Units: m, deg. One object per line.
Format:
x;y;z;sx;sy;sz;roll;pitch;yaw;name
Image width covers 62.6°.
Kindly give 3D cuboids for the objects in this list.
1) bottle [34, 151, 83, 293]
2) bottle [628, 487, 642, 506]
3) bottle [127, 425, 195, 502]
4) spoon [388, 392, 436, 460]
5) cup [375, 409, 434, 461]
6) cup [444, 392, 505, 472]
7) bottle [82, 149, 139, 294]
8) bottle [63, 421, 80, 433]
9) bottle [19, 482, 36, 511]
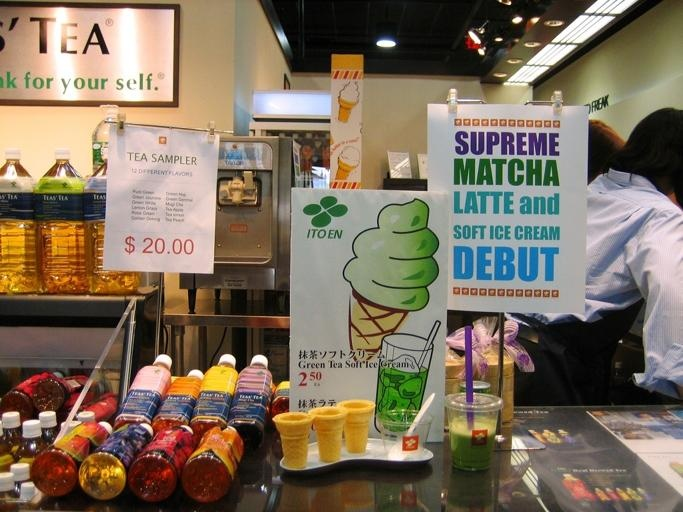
-1.098;-0.133;2.209;0.161;0.559;0.184;-6;10;-41;bottle
0.662;0.543;1.270;0.024;0.008;0.026;-5;30;3;bottle
-0.390;0.468;1.258;0.088;0.129;0.148;7;11;42;bottle
0.163;0.432;1.340;0.055;0.221;0.033;29;-8;5;spoon
0.145;0.434;1.347;0.106;0.088;0.107;1;0;0;cup
0.319;0.428;1.440;0.151;0.167;0.156;0;1;0;cup
-0.906;-0.077;2.217;0.195;0.472;0.144;-3;8;-22;bottle
-0.673;0.425;1.404;0.027;0.022;0.028;1;6;0;bottle
-0.696;0.541;1.251;0.038;0.047;0.039;-1;-8;1;bottle
